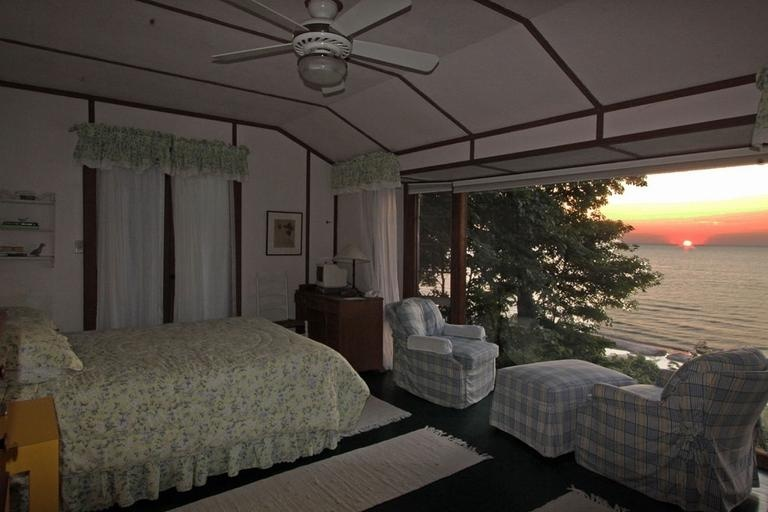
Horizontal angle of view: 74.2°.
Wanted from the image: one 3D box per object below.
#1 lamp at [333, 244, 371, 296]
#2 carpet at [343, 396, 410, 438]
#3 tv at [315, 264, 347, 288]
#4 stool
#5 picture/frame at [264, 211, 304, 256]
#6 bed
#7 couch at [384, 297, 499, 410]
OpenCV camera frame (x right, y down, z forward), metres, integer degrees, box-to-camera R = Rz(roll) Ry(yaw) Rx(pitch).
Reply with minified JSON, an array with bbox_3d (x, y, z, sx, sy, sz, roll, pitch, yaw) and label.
[{"bbox_3d":[-0.451,0.210,7.360,0.661,0.887,0.633,0,-3,2],"label":"lamp"},{"bbox_3d":[-0.099,1.767,5.507,0.448,0.023,0.477,-4,7,-43],"label":"carpet"},{"bbox_3d":[-0.763,0.289,7.432,0.360,0.277,0.349,1,0,-24],"label":"tv"},{"bbox_3d":[1.691,1.486,5.238,1.157,0.570,0.881,-1,-1,-34],"label":"stool"},{"bbox_3d":[-1.539,-0.356,7.652,0.678,0.824,0.060,-1,1,-37],"label":"picture/frame"},{"bbox_3d":[-1.626,1.352,4.603,1.997,0.607,1.577,0,3,-40],"label":"bed"},{"bbox_3d":[0.693,1.156,6.471,1.359,1.239,1.098,0,2,43],"label":"couch"}]
